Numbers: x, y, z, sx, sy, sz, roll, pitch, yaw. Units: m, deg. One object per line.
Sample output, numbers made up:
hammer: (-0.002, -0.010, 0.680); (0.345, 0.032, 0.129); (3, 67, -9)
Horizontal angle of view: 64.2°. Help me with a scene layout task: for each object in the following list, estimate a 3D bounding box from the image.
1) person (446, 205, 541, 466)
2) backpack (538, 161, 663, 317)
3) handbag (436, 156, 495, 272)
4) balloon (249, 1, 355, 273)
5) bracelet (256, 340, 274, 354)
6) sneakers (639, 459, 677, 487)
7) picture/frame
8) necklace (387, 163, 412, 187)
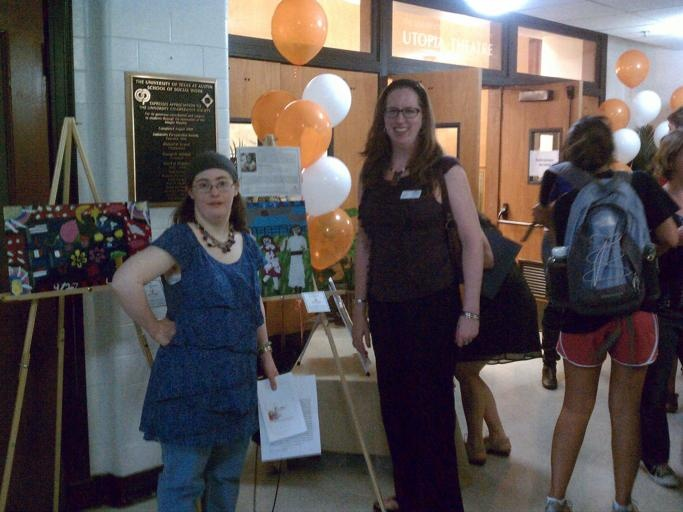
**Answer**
person: (0.766, 0.395, 3.067); (0.640, 1.454, 0.546); (-2, -8, 36)
backpack: (1.210, -0.079, 2.561); (0.423, 0.706, 0.362); (-1, 5, 16)
handbag: (0.545, -0.127, 2.420); (0.207, 0.543, 0.060); (-5, 45, 51)
balloon: (-0.240, -0.675, 3.342); (0.590, 1.822, 1.099); (-1, 14, 0)
bracelet: (-0.345, 0.420, 2.441); (0.053, 0.063, 0.062); (0, 14, -7)
sneakers: (1.750, 1.200, 3.023); (0.067, 0.086, 0.185); (-6, 4, -17)
picture/frame: (-0.895, -0.631, 2.944); (0.485, 0.743, 0.053); (-4, 30, -21)
necklace: (0.255, -0.355, 2.405); (0.115, 0.022, 0.154); (4, 42, 8)
